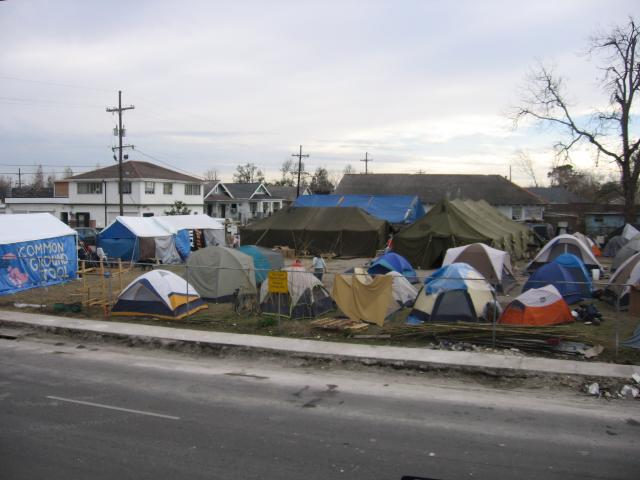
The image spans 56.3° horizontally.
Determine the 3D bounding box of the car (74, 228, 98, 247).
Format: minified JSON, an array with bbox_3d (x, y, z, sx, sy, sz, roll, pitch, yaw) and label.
[{"bbox_3d":[-13.670,-0.104,36.189,2.043,1.056,1.142,-2,8,-11],"label":"car"}]
